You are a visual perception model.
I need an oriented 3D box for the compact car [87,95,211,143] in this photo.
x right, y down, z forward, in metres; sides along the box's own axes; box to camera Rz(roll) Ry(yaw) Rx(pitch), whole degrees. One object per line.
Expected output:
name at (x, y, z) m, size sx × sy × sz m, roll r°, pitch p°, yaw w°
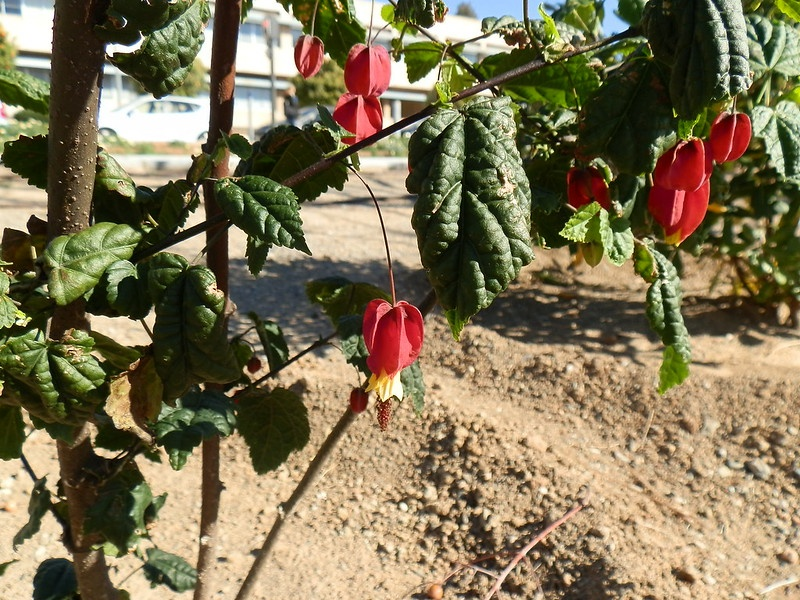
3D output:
compact car at (-4.384, -3.284, 16.968) m, size 0.550 × 0.802 × 2.270 m, roll 12°, pitch 12°, yaw 34°

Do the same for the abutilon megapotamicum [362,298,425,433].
abutilon megapotamicum at (-0.032, 0.198, 2.728) m, size 0.170 × 0.431 × 0.276 m, roll 5°, pitch 9°, yaw -2°

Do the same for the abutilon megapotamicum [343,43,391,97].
abutilon megapotamicum at (-0.082, -0.677, 2.754) m, size 0.110 × 0.155 × 0.092 m, roll 10°, pitch -12°, yaw -43°

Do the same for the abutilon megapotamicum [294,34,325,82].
abutilon megapotamicum at (-0.282, -0.758, 2.912) m, size 0.095 × 0.139 × 0.210 m, roll 4°, pitch 10°, yaw -7°
